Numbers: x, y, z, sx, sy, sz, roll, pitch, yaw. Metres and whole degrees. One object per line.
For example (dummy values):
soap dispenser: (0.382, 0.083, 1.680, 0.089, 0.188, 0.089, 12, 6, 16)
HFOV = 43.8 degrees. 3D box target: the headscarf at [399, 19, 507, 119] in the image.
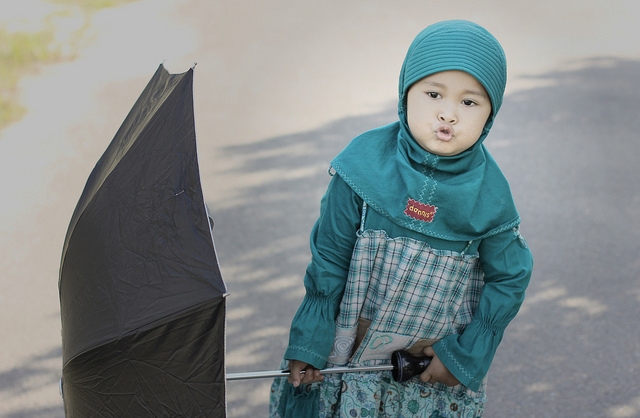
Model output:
headscarf: (0.730, -0.824, 4.321, 0.576, 0.436, 0.562, 7, 17, 10)

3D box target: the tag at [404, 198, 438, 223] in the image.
tag: (0.512, 0.008, 4.159, 0.120, 0.075, 0.005, 15, 0, -4)

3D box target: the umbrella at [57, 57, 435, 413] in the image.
umbrella: (-0.496, 0.228, 4.710, 1.869, 1.817, 2.125, -1, 15, -11)

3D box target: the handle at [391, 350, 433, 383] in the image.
handle: (0.518, 0.855, 4.269, 0.281, 0.171, 0.179, 0, 5, -19)
